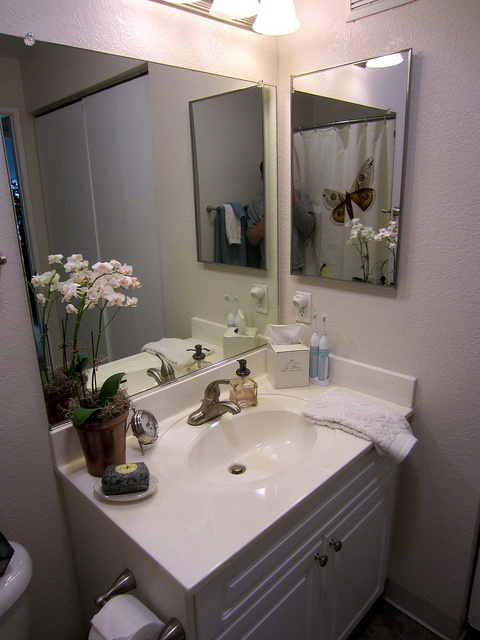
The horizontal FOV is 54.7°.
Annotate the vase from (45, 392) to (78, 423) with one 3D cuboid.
[{"bbox_3d":[-0.451,0.216,1.165,0.054,0.073,0.069,1,6,2],"label":"vase"}]

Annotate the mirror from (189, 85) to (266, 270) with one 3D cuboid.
[{"bbox_3d":[-0.041,-0.426,1.523,0.251,0.612,0.016,0,7,19],"label":"mirror"}]

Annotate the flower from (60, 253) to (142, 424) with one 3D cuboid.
[{"bbox_3d":[-0.332,0.018,1.103,0.091,0.424,0.159,22,25,35],"label":"flower"}]

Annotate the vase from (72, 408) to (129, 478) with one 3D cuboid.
[{"bbox_3d":[-0.333,0.291,1.132,0.120,0.149,0.128,-5,14,-12],"label":"vase"}]

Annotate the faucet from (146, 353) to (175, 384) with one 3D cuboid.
[{"bbox_3d":[-0.242,0.139,1.421,0.038,0.098,0.116,-12,29,-40],"label":"faucet"}]

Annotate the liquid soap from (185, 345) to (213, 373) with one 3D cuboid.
[{"bbox_3d":[-0.138,0.125,1.519,0.064,0.136,0.075,3,18,10],"label":"liquid soap"}]

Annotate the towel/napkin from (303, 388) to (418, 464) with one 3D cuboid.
[{"bbox_3d":[0.367,0.306,1.405,0.328,0.076,0.225,9,18,36],"label":"towel/napkin"}]

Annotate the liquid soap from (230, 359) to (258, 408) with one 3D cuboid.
[{"bbox_3d":[0.007,0.209,1.502,0.095,0.200,0.105,0,27,1],"label":"liquid soap"}]

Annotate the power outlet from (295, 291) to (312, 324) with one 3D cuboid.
[{"bbox_3d":[0.234,-0.050,1.719,0.044,0.155,0.082,-11,16,-41],"label":"power outlet"}]

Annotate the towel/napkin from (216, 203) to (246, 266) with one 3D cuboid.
[{"bbox_3d":[-0.037,-0.293,1.562,0.077,0.291,0.140,15,20,42],"label":"towel/napkin"}]

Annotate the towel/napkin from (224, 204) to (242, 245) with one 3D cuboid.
[{"bbox_3d":[-0.023,-0.329,1.566,0.031,0.114,0.082,-1,12,21],"label":"towel/napkin"}]
